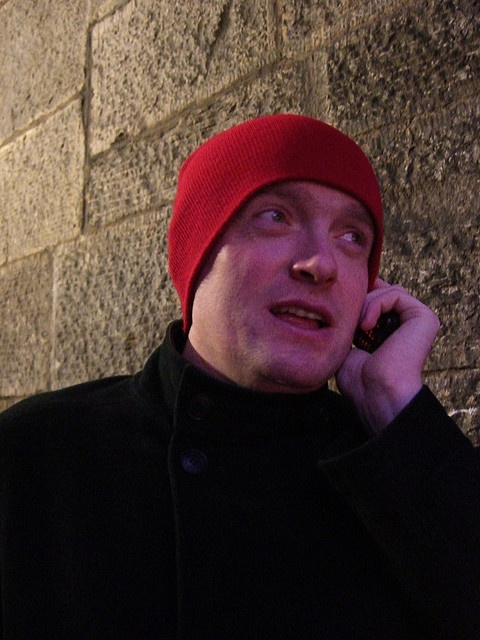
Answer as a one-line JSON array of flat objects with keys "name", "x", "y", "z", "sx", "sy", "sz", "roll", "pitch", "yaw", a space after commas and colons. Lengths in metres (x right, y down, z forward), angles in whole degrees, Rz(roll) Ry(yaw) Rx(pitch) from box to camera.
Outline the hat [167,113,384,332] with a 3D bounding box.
[{"name": "hat", "x": 0.061, "y": -0.232, "z": 2.136, "sx": 0.432, "sy": 0.291, "sz": 0.426, "roll": -40, "pitch": 44, "yaw": 51}]

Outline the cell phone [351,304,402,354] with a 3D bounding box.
[{"name": "cell phone", "x": 0.270, "y": 0.030, "z": 2.138, "sx": 0.018, "sy": 0.081, "sz": 0.074, "roll": 35, "pitch": -72, "yaw": -30}]
